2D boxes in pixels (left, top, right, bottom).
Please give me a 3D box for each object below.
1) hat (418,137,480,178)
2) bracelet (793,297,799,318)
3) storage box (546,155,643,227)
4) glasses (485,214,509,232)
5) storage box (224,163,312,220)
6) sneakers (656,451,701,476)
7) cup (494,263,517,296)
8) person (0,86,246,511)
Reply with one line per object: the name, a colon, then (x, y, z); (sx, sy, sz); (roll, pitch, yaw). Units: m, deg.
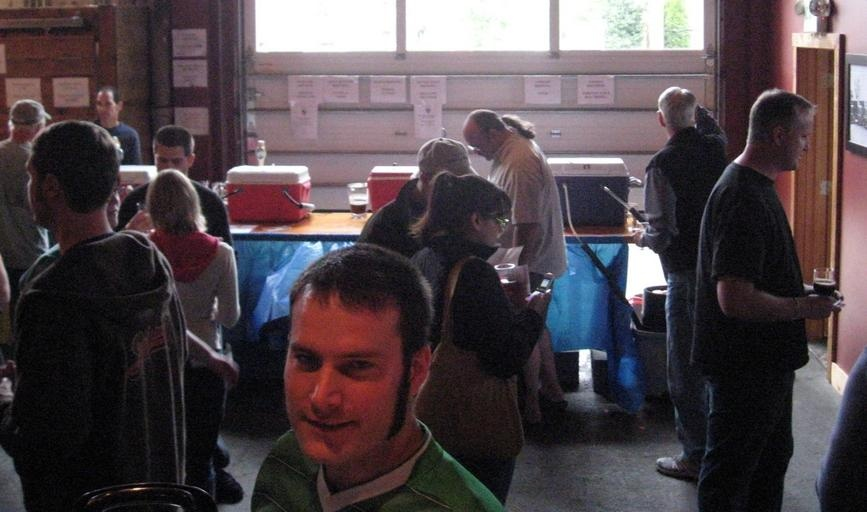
hat: (0.073, -0.637, 5.001); (0.480, 0.226, 0.329); (1, 19, 9)
bracelet: (1.842, 0.261, 3.934); (0.034, 0.090, 0.025); (2, 9, 20)
storage box: (1.320, -0.547, 6.453); (0.921, 0.547, 0.559); (0, 6, 6)
glasses: (0.323, -0.170, 3.933); (0.103, 0.030, 0.094); (10, 2, 10)
storage box: (-1.421, -0.539, 6.723); (0.563, 0.382, 0.608); (-1, 10, 0)
sneakers: (1.596, 1.380, 5.187); (0.311, 0.128, 0.115); (10, 21, 35)
cup: (0.407, 0.131, 4.324); (0.152, 0.156, 0.153); (-2, 12, 0)
person: (-1.511, 0.311, 3.622); (0.789, 1.841, 1.004); (-4, 9, -16)
